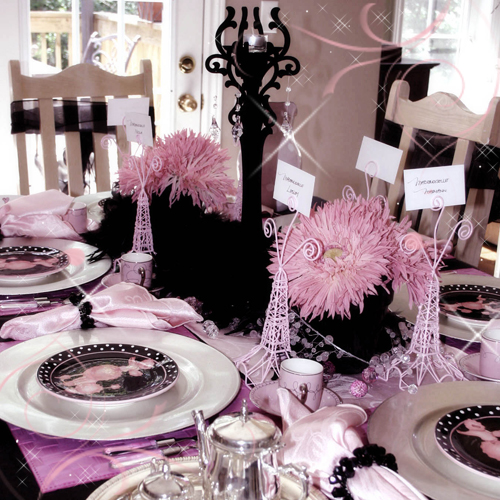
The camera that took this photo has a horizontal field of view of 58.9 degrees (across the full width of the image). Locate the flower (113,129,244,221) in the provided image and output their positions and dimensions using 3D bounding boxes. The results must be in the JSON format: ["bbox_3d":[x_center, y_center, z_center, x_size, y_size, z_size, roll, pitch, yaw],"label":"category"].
[{"bbox_3d":[-0.170,-0.155,1.008,0.230,0.173,0.218,3,13,-23],"label":"flower"}]

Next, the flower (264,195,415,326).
[{"bbox_3d":[0.131,0.006,0.611,0.163,0.158,0.130,8,14,17],"label":"flower"}]

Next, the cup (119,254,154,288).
[{"bbox_3d":[-0.220,0.039,0.865,0.059,0.052,0.075,-1,10,-18],"label":"cup"}]

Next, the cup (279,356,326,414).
[{"bbox_3d":[0.060,0.158,0.530,0.049,0.044,0.062,2,20,0],"label":"cup"}]
